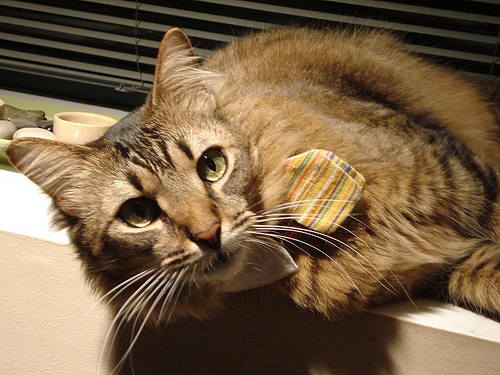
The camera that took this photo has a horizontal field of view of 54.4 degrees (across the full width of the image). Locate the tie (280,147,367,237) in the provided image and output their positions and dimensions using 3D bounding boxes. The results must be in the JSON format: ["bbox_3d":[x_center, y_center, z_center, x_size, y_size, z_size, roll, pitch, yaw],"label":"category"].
[{"bbox_3d":[0.103,0.000,0.859,0.215,0.054,0.165,7,58,-50],"label":"tie"}]

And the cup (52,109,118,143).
[{"bbox_3d":[-0.322,-0.111,0.932,0.114,0.051,0.097,1,4,-4],"label":"cup"}]
